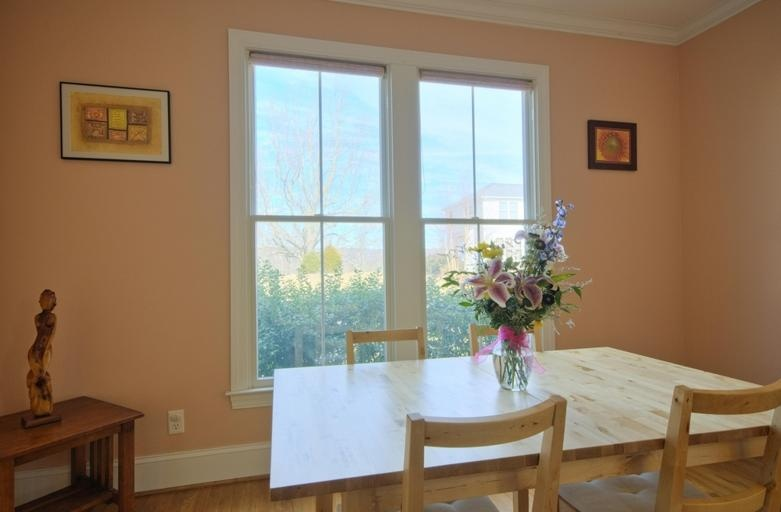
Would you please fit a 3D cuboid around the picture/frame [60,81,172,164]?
[{"bbox_3d":[-2.084,-0.996,4.395,0.614,0.476,0.025,0,2,-9],"label":"picture/frame"}]

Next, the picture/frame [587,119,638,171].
[{"bbox_3d":[1.933,-0.986,5.208,0.445,0.401,0.032,1,-3,-17],"label":"picture/frame"}]
